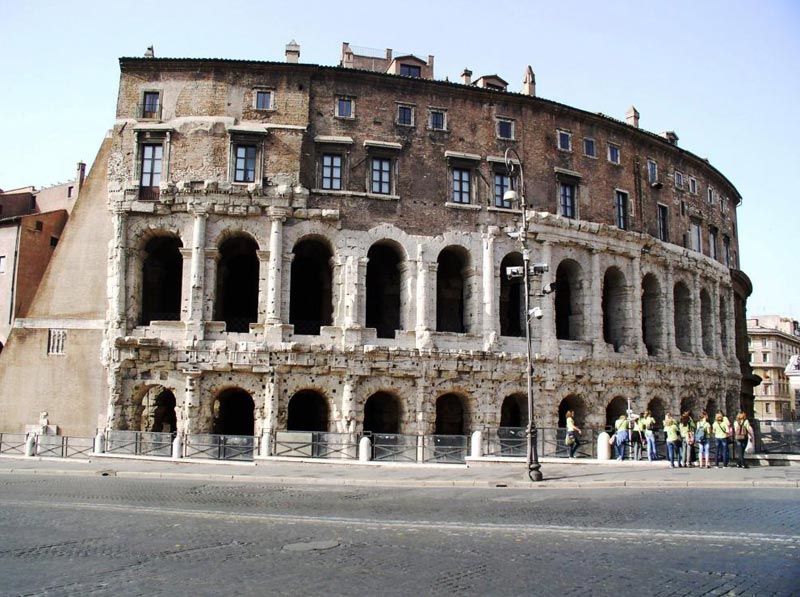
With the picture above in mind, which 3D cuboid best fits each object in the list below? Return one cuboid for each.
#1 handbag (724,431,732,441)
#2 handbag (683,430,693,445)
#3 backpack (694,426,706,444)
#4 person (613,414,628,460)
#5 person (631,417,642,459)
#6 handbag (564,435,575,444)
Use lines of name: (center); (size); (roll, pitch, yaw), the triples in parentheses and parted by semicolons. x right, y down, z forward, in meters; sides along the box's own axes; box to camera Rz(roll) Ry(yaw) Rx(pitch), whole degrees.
handbag: (11.431, 4.840, 29.602); (0.125, 0.381, 0.291); (1, 1, 26)
handbag: (10.210, 4.933, 30.109); (0.174, 0.404, 0.321); (3, 10, 38)
backpack: (10.563, 4.800, 30.040); (0.402, 0.571, 0.330); (-4, -13, 17)
person: (8.342, 5.270, 32.266); (0.488, 1.676, 1.358); (-3, -12, 14)
person: (8.862, 5.366, 32.078); (0.365, 1.359, 0.959); (-3, -13, 14)
handbag: (6.609, 5.510, 33.134); (0.387, 0.362, 0.311); (4, -10, 42)
